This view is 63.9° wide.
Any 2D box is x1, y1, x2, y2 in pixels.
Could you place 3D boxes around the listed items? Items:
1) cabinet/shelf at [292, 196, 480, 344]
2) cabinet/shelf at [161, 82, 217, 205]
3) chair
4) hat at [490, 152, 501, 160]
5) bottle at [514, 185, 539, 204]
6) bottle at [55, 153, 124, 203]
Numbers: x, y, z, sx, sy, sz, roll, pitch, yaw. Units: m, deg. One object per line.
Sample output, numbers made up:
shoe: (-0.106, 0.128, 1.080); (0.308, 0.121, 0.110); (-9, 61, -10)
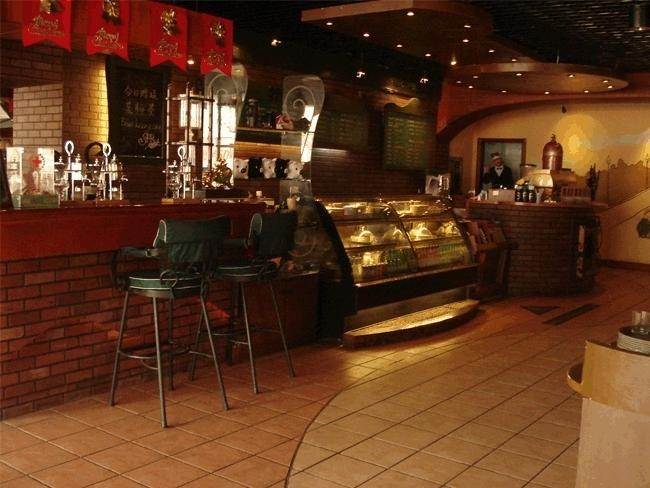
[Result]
cabinet/shelf: (0.817, 0.188, 6.673); (1.073, 1.372, 2.908); (7, 7, 40)
cabinet/shelf: (-1.314, -1.056, 5.400); (0.484, 1.163, 0.508); (-11, 32, -34)
chair: (-0.951, 0.490, 4.383); (0.856, 1.386, 1.672); (-2, 0, 30)
hat: (4.070, -2.105, 12.538); (0.263, 0.115, 0.262); (-1, 9, 42)
bottle: (3.322, -0.838, 8.630); (0.300, 0.270, 0.287); (-2, 8, -24)
bottle: (-2.100, -0.600, 4.693); (0.514, 0.409, 0.892); (-2, 7, -22)
